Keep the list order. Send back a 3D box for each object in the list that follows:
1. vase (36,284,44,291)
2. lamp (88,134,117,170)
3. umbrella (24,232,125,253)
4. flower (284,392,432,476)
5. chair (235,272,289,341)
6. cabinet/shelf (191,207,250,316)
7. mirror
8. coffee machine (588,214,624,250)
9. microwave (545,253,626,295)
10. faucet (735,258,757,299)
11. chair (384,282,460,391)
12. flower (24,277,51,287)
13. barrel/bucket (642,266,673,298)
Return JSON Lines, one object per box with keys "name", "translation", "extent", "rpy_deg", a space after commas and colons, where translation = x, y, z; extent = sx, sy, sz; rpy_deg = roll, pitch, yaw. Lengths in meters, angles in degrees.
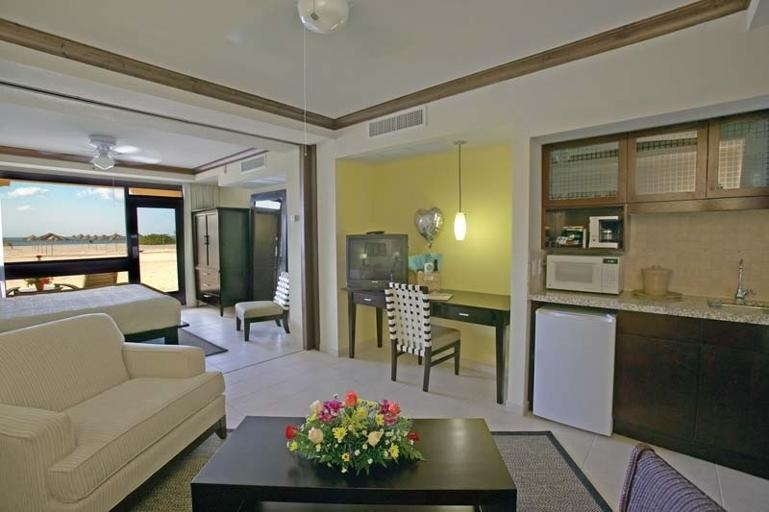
{"name": "vase", "translation": [-4.752, 0.434, 7.032], "extent": [0.099, 0.082, 0.106], "rpy_deg": [-1, -7, -4]}
{"name": "lamp", "translation": [-3.672, -1.353, 6.671], "extent": [0.321, 0.447, 0.327], "rpy_deg": [-4, -5, 37]}
{"name": "umbrella", "translation": [-4.982, -0.233, 8.259], "extent": [1.410, 0.311, 0.112], "rpy_deg": [-4, 10, -39]}
{"name": "flower", "translation": [-0.178, 1.218, 3.865], "extent": [0.898, 0.401, 0.858], "rpy_deg": [-5, 7, 16]}
{"name": "chair", "translation": [-1.757, 0.668, 7.379], "extent": [0.740, 0.855, 0.695], "rpy_deg": [-1, 6, -15]}
{"name": "cabinet/shelf", "translation": [-2.814, 0.005, 8.960], "extent": [0.599, 1.763, 1.078], "rpy_deg": [-5, 11, -41]}
{"name": "mirror", "translation": [-1.920, -0.067, 8.390], "extent": [0.833, 1.868, 0.107], "rpy_deg": [-3, -5, 36]}
{"name": "coffee machine", "translation": [2.134, -0.215, 4.965], "extent": [0.353, 0.298, 0.300], "rpy_deg": [4, -8, -8]}
{"name": "microwave", "translation": [1.884, 0.167, 4.845], "extent": [0.578, 0.302, 0.398], "rpy_deg": [1, 1, 33]}
{"name": "faucet", "translation": [3.176, 0.212, 4.480], "extent": [0.152, 0.362, 0.111], "rpy_deg": [8, 10, 37]}
{"name": "chair", "translation": [0.421, 0.823, 5.690], "extent": [0.659, 1.104, 0.605], "rpy_deg": [9, 10, 38]}
{"name": "flower", "translation": [-4.824, 0.360, 7.183], "extent": [0.240, 0.092, 0.240], "rpy_deg": [-1, -3, 3]}
{"name": "barrel/bucket", "translation": [2.438, 0.239, 4.697], "extent": [0.274, 0.286, 0.253], "rpy_deg": [0, -1, 0]}
